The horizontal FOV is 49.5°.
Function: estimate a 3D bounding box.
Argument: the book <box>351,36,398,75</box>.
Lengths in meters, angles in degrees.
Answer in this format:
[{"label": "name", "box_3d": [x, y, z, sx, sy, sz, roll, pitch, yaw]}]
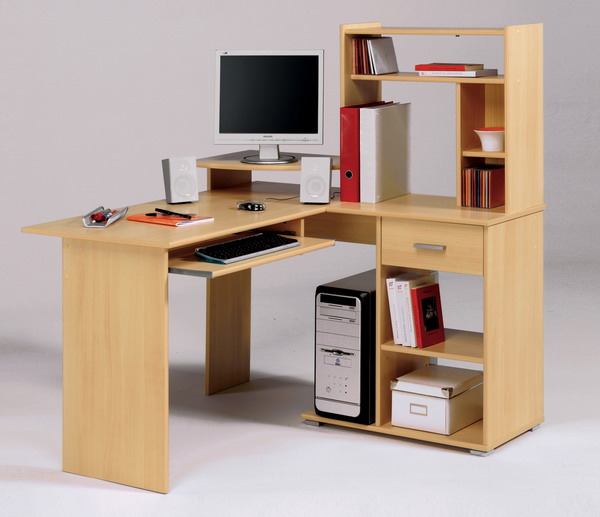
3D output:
[{"label": "book", "box_3d": [0.320, -0.884, 2.860, 0.130, 0.196, 0.238, 4, 9, 43]}]

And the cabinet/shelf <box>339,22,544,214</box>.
[{"label": "cabinet/shelf", "box_3d": [0.649, -0.612, 2.909, 0.451, 0.783, 0.941, -19, 25, -36]}]

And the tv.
[{"label": "tv", "box_3d": [-0.142, -0.714, 3.015, 0.739, 0.574, 0.261, 1, 3, 5]}]

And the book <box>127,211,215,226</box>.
[{"label": "book", "box_3d": [-0.480, -0.140, 2.367, 0.325, 0.044, 0.222, -1, 6, -3]}]

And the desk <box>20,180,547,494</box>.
[{"label": "desk", "box_3d": [0.128, 0.172, 2.488, 1.519, 0.753, 1.481, 3, 6, 33]}]
